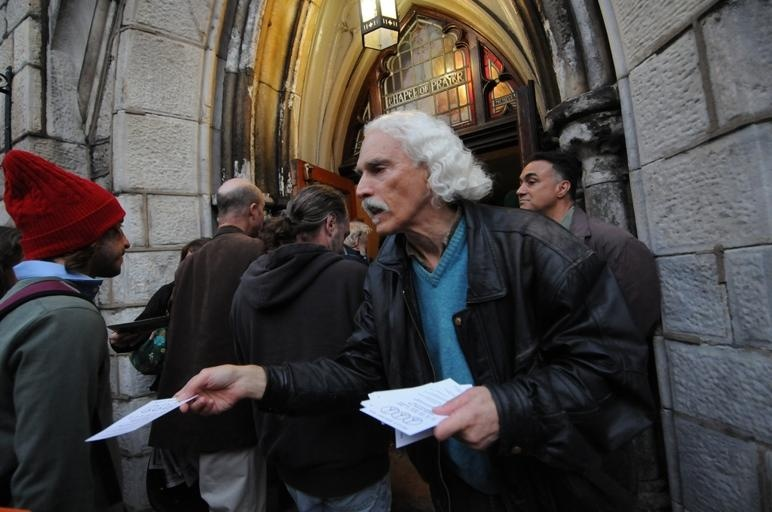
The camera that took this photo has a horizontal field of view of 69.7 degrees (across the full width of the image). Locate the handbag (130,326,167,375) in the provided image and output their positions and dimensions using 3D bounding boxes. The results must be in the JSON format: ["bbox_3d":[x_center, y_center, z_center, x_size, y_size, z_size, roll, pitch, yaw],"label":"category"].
[{"bbox_3d":[-1.497,0.613,3.650,0.247,0.321,0.241,-1,-12,26],"label":"handbag"}]

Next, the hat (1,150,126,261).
[{"bbox_3d":[-1.672,-0.359,3.020,0.601,0.599,0.458,-20,21,-20],"label":"hat"}]
